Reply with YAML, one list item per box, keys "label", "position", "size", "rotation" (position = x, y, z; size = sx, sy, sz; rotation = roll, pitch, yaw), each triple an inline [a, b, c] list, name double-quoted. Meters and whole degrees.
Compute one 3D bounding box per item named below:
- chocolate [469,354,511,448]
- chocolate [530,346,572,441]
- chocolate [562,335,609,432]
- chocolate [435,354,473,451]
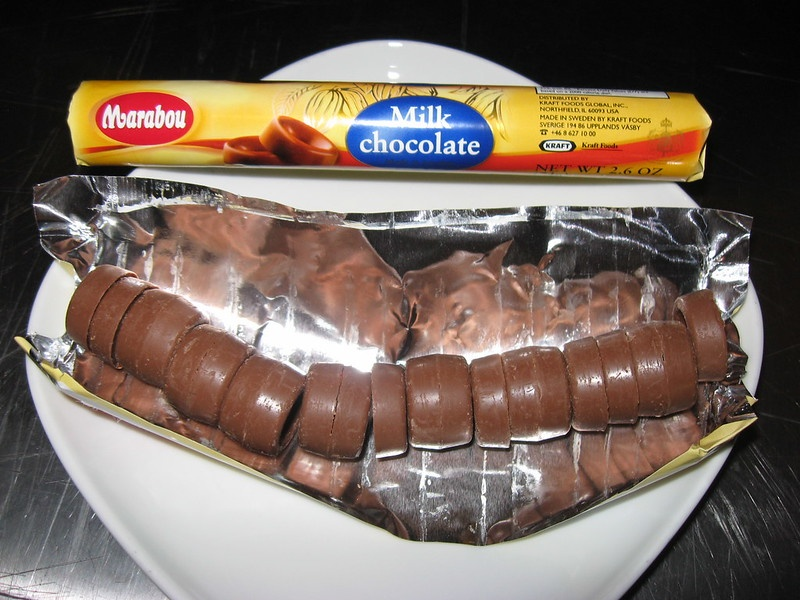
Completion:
- label: "chocolate"
  position: [0.298, 0.330, 2.455]
  size: [0.100, 0.260, 0.279]
  rotation: [-1, 95, 1]
- label: "chocolate"
  position: [0.491, 0.301, 2.450]
  size: [0.092, 0.256, 0.275]
  rotation: [-5, 93, 8]
- label: "chocolate"
  position: [0.609, 0.276, 2.458]
  size: [0.094, 0.268, 0.289]
  rotation: [-6, 86, 8]
- label: "chocolate"
  position: [0.192, 0.336, 2.591]
  size: [0.136, 0.323, 0.337]
  rotation: [-6, 87, 4]
